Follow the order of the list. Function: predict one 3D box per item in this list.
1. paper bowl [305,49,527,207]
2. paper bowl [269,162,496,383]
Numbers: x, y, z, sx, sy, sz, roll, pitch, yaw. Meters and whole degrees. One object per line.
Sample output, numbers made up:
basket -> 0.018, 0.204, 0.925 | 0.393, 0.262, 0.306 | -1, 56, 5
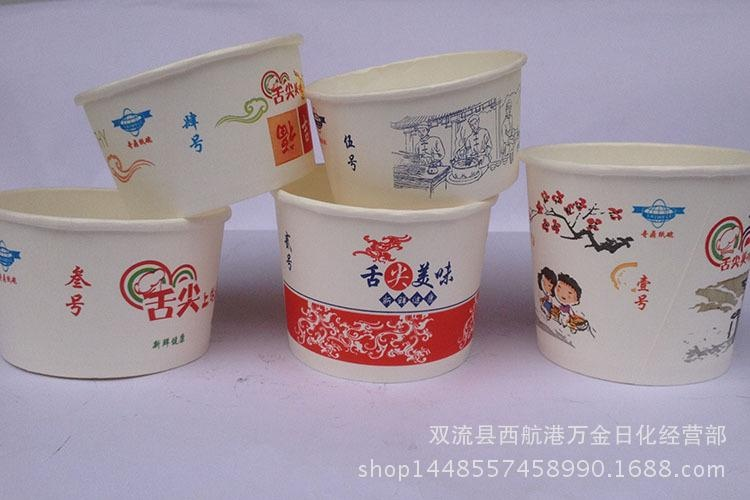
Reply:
paper bowl -> 0.194, -0.369, 2.140 | 0.679, 0.391, 0.683 | -6, 10, 1
paper bowl -> 0.027, 0.032, 2.184 | 0.634, 0.495, 0.634 | 0, 9, 0
